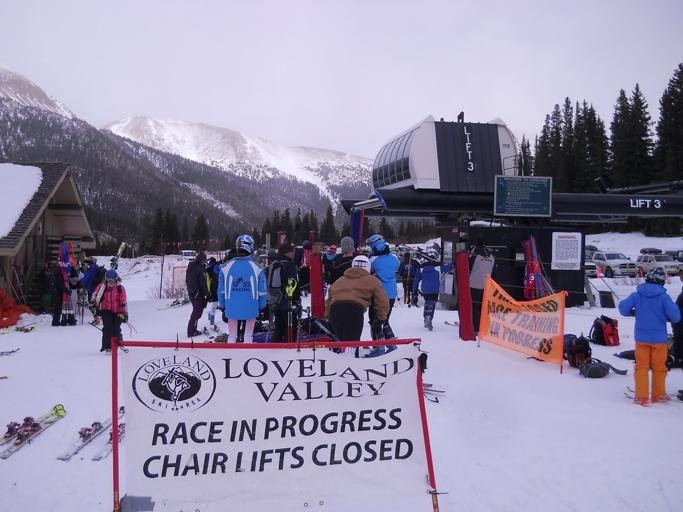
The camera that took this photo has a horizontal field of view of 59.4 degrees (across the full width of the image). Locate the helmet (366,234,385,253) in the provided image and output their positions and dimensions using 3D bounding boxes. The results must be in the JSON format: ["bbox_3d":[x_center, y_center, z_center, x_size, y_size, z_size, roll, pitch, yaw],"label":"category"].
[{"bbox_3d":[0.698,-0.248,11.792,0.261,0.395,0.340,14,-13,6],"label":"helmet"}]

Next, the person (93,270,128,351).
[{"bbox_3d":[-4.842,1.132,12.468,0.636,1.748,0.576,-5,10,-26],"label":"person"}]

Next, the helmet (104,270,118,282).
[{"bbox_3d":[-4.748,0.421,12.269,0.178,0.269,0.214,3,-40,-15],"label":"helmet"}]

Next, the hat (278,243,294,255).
[{"bbox_3d":[-1.045,-0.134,11.311,0.176,0.259,0.219,4,3,38],"label":"hat"}]

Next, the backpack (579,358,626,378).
[{"bbox_3d":[4.586,2.010,10.571,0.520,0.265,0.381,-3,-9,40],"label":"backpack"}]

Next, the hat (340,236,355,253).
[{"bbox_3d":[0.130,-0.224,10.828,0.199,0.288,0.267,3,19,9],"label":"hat"}]

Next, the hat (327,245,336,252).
[{"bbox_3d":[-0.298,-0.254,20.545,0.237,0.287,0.198,-13,1,-12],"label":"hat"}]

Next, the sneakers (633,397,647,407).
[{"bbox_3d":[4.732,2.264,9.314,0.205,0.083,0.169,4,11,23],"label":"sneakers"}]

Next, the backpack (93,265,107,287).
[{"bbox_3d":[-6.168,0.517,15.127,0.290,0.641,0.354,-1,-15,4],"label":"backpack"}]

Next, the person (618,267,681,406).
[{"bbox_3d":[4.956,1.275,9.509,0.763,2.025,0.630,-3,9,-17],"label":"person"}]

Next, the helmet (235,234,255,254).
[{"bbox_3d":[-1.654,-0.211,10.279,0.227,0.299,0.329,7,6,13],"label":"helmet"}]

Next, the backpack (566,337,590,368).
[{"bbox_3d":[4.474,1.794,11.226,0.343,0.586,0.519,0,-9,7],"label":"backpack"}]
